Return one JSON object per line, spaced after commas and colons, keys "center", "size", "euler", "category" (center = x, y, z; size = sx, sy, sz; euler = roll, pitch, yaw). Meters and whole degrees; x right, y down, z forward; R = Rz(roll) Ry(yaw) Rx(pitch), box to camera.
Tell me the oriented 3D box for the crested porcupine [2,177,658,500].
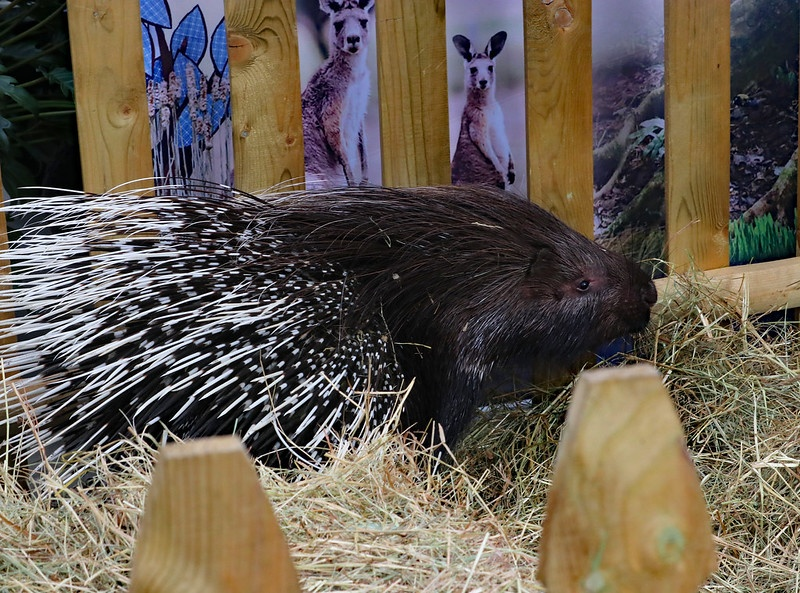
{"center": [-0.131, 0.046, 1.501], "size": [1.147, 0.471, 0.369], "euler": [-3, 19, -5], "category": "crested porcupine"}
